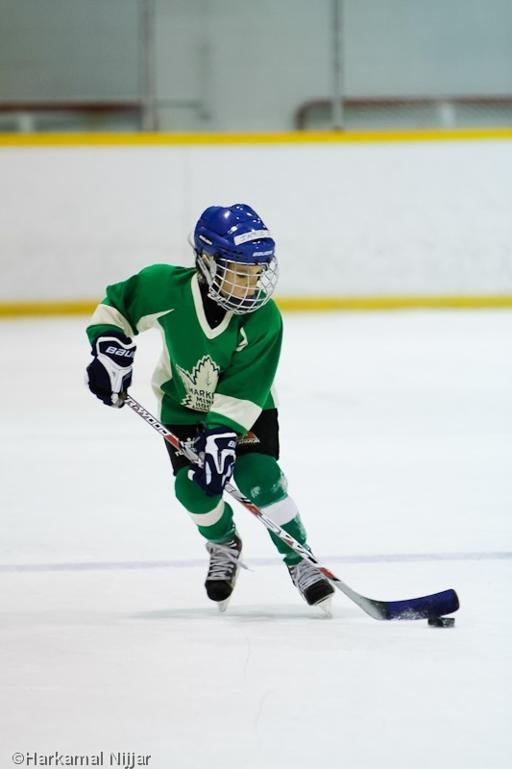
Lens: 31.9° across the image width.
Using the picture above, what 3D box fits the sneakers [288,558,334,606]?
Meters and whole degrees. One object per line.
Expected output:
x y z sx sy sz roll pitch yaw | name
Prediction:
0.119 0.431 1.990 0.046 0.057 0.133 -42 24 1 | sneakers

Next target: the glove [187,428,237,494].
-0.084 0.157 1.866 0.113 0.125 0.053 -3 1 -8 | glove

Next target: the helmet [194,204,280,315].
-0.048 -0.268 1.910 0.171 0.234 0.164 2 1 -4 | helmet

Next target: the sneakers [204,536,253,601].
-0.073 0.416 2.037 0.091 0.071 0.224 0 14 7 | sneakers
